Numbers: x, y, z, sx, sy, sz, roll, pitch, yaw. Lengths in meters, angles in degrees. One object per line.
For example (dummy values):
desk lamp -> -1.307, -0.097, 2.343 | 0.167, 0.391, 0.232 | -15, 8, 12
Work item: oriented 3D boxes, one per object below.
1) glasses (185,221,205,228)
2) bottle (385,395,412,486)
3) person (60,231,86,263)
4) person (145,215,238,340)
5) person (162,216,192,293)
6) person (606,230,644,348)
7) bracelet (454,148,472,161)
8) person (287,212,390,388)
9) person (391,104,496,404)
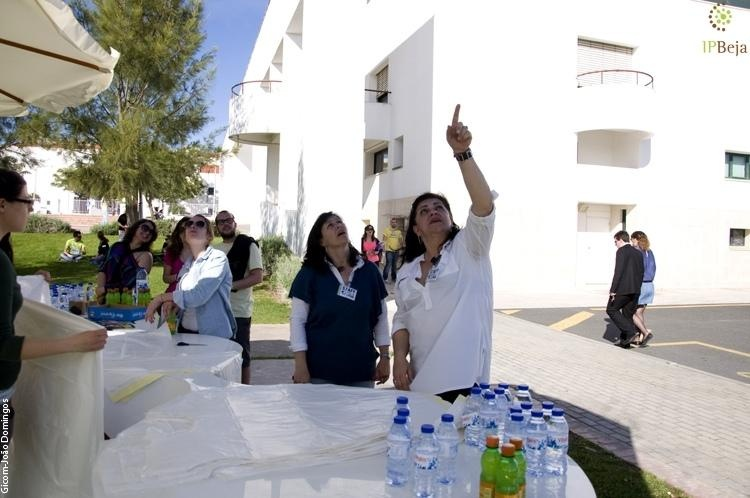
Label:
glasses -> -1.892, -0.265, 5.144 | 0.200, 0.061, 0.062 | 2, 5, 3
bottle -> 0.149, 1.187, 2.950 | 0.147, 0.420, 0.171 | 2, 5, 7
person -> -12.755, -0.151, 20.597 | 0.781, 1.324, 0.961 | 15, 7, 32
person -> -1.921, 0.309, 5.170 | 0.740, 1.331, 0.513 | 2, 5, 5
person -> -2.796, 0.034, 6.751 | 0.406, 0.432, 1.398 | -2, 17, -24
person -> 5.282, 0.839, 10.212 | 0.727, 2.400, 0.491 | 0, 5, -13
bracelet -> 0.681, -0.709, 3.743 | 0.118, 0.099, 0.138 | -3, 3, -6
person -> -0.310, 0.468, 4.423 | 0.936, 1.587, 0.476 | 1, 5, -8
person -> 0.565, -0.011, 4.023 | 0.818, 2.330, 0.591 | 2, 5, 14
